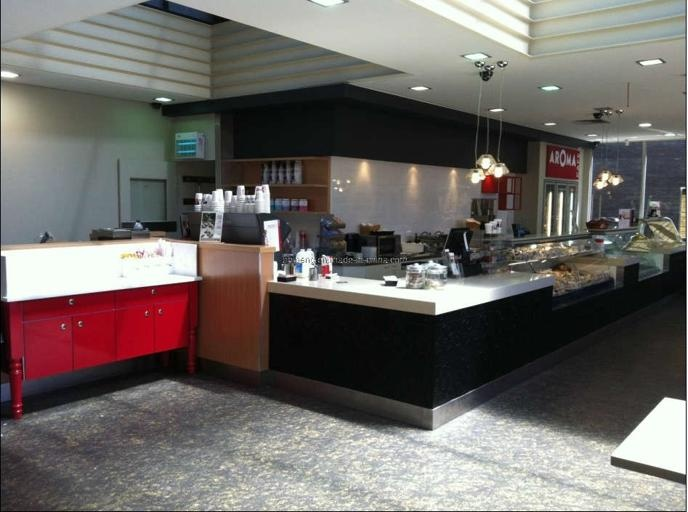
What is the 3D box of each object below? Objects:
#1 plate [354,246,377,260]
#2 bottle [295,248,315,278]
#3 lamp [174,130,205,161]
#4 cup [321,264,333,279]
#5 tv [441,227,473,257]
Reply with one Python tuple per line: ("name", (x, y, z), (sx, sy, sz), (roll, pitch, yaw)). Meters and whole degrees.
("plate", (0.351, -0.046, 7.785), (0.342, 0.191, 0.220), (1, 8, 5))
("bottle", (-0.407, 0.092, 5.056), (0.195, 0.265, 0.316), (0, 8, -4))
("lamp", (-2.754, -1.942, 8.641), (0.606, 0.450, 0.214), (4, 8, 23))
("cup", (-0.176, 0.162, 4.983), (0.086, 0.143, 0.119), (-1, 8, -14))
("tv", (1.398, -0.157, 6.040), (0.495, 0.336, 0.232), (-6, 14, -37))
